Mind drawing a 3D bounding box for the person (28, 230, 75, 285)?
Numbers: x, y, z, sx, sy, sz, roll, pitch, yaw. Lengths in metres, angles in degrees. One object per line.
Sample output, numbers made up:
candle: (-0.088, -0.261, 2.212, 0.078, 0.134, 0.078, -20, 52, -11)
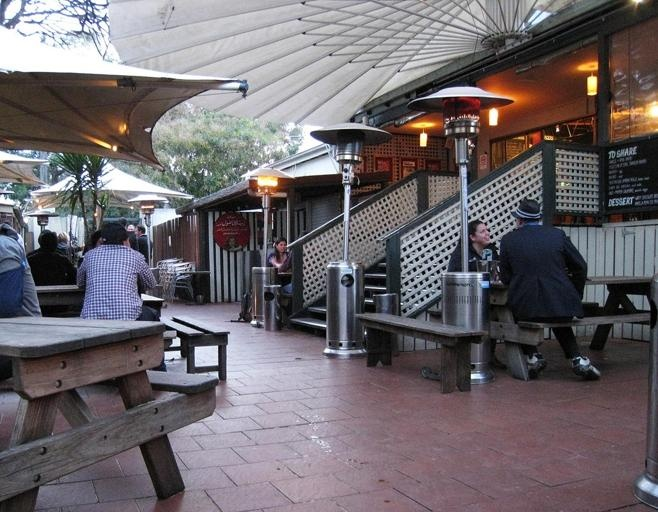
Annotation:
person: (-4.127, 0.057, 8.435, 0.662, 0.957, 0.562, -2, 29, -17)

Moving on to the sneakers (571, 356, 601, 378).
sneakers: (2.917, 1.286, 6.386, 0.251, 0.302, 0.326, 0, 2, 32)

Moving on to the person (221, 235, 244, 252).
person: (-3.093, -0.379, 17.997, 0.733, 0.444, 0.207, -3, 2, -39)

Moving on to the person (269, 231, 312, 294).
person: (-0.979, 0.240, 12.481, 0.548, 1.276, 0.782, -17, 19, -35)

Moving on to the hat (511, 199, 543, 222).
hat: (2.400, -0.600, 6.814, 0.296, 0.133, 0.340, 7, 16, 5)

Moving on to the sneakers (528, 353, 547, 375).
sneakers: (2.415, 1.270, 6.567, 0.193, 0.241, 0.268, 1, 0, 9)

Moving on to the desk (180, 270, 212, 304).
desk: (-4.177, 0.971, 17.749, 0.945, 0.974, 0.914, 0, 4, -3)

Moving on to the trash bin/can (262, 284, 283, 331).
trash bin/can: (-1.159, 1.038, 11.375, 0.379, 0.922, 0.325, -1, 2, 6)

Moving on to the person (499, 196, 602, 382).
person: (2.518, 0.380, 6.521, 1.004, 2.122, 0.512, -1, 2, 17)
